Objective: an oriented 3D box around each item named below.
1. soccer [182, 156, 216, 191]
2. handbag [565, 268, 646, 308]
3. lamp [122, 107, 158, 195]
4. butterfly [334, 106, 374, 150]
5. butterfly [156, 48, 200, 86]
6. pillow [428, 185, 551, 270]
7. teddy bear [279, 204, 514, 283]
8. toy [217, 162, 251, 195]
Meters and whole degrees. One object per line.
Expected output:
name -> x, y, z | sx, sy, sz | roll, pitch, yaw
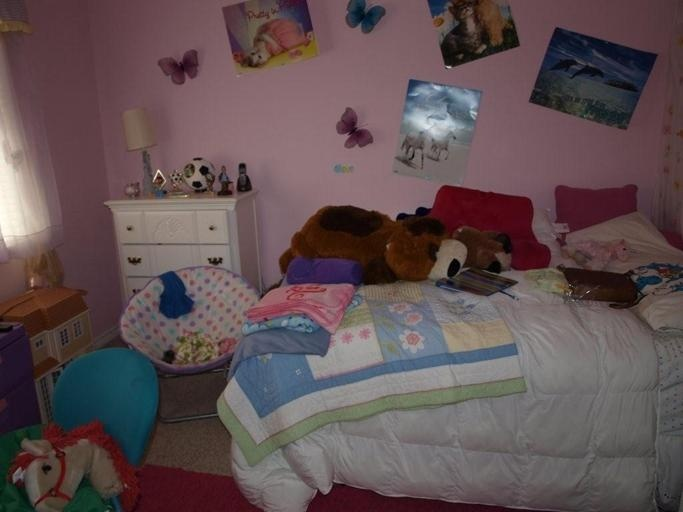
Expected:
soccer -> -1.135, -0.626, 3.890 | 0.239, 0.262, 0.181 | 9, 17, 32
handbag -> 1.450, 0.201, 3.119 | 0.540, 0.211, 0.746 | 4, -7, 6
lamp -> -1.494, -0.827, 3.860 | 0.284, 0.650, 0.306 | 3, 17, 10
butterfly -> 0.099, -0.976, 3.854 | 0.262, 0.349, 0.101 | -42, 11, 3
butterfly -> -1.289, -1.483, 3.937 | 0.297, 0.247, 0.080 | -1, 14, 1
pillow -> 1.021, -0.259, 3.654 | 0.862, 0.620, 0.617 | 1, 20, -1
teddy bear -> 0.286, -0.082, 3.146 | 1.215, 0.483, 0.874 | 1, 12, -20
toy -> -0.858, -0.618, 3.959 | 0.249, 0.239, 0.109 | -1, 14, -5
